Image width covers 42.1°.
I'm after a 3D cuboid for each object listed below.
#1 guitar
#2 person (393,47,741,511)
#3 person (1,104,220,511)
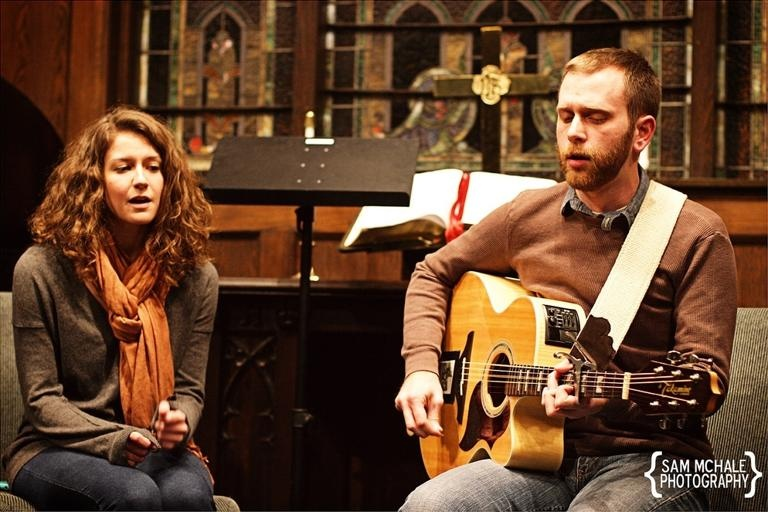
[{"bbox_3d":[0.712,0.526,3.930,0.232,0.876,1.538,18,-10,-30],"label":"guitar"},{"bbox_3d":[0.731,0.085,3.988,1.288,1.846,0.657,1,2,16],"label":"person"},{"bbox_3d":[-1.116,0.183,4.147,0.837,1.647,0.689,1,2,-10],"label":"person"}]
